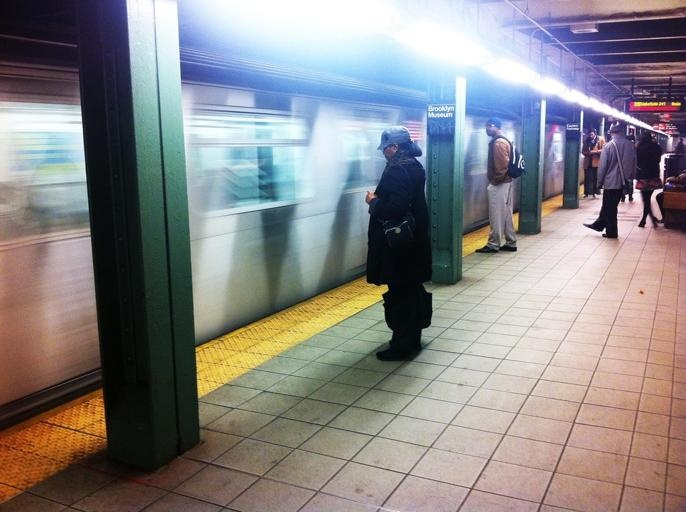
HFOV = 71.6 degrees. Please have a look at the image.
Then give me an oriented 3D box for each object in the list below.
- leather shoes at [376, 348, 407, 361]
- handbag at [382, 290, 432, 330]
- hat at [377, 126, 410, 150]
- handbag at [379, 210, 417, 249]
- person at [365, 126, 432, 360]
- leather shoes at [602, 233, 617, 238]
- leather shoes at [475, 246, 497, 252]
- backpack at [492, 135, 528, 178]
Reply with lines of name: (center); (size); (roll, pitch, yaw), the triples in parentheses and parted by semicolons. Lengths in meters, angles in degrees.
leather shoes: (0.478, 0.962, 4.620); (0.298, 0.107, 0.110); (2, 2, -2)
handbag: (0.655, 0.534, 4.688); (0.369, 0.435, 0.484); (-2, -11, 9)
hat: (0.499, -1.126, 4.479); (0.327, 0.148, 0.221); (-12, 19, 12)
handbag: (0.489, -0.246, 4.258); (0.237, 0.285, 0.163); (-30, 28, 4)
person: (0.543, -0.104, 4.523); (0.505, 2.183, 0.596); (4, 14, 28)
leather shoes: (5.849, -0.433, 10.407); (0.102, 0.172, 0.194); (-3, -1, -25)
leather shoes: (2.801, -0.113, 9.257); (0.404, 0.136, 0.142); (5, 5, 18)
backpack: (3.021, -1.797, 8.624); (0.534, 0.745, 0.372); (0, 13, 11)
